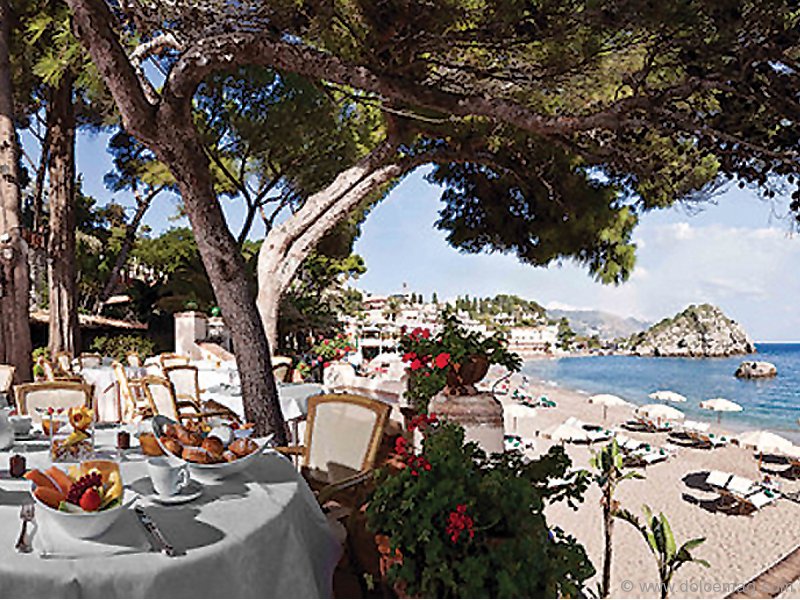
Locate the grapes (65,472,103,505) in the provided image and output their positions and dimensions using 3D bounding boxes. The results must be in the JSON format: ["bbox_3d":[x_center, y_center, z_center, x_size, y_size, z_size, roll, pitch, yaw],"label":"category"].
[{"bbox_3d":[-1.772,1.048,3.465,0.046,0.138,0.168,35,-34,-30],"label":"grapes"}]

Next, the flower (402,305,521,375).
[{"bbox_3d":[0.473,0.396,5.448,0.678,0.380,0.592,4,-5,-8],"label":"flower"}]

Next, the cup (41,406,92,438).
[{"bbox_3d":[-2.312,0.858,4.277,0.204,0.166,0.117,4,-17,-31],"label":"cup"}]

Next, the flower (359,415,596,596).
[{"bbox_3d":[0.485,1.495,3.994,1.050,1.234,0.876,-3,-27,6],"label":"flower"}]

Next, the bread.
[{"bbox_3d":[-1.359,0.953,4.032,0.418,0.157,0.388,10,-8,8],"label":"bread"}]

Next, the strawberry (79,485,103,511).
[{"bbox_3d":[-1.711,1.118,3.422,0.088,0.139,0.100,10,9,8],"label":"strawberry"}]

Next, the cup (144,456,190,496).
[{"bbox_3d":[-1.426,1.073,3.804,0.229,0.193,0.182,4,-2,18],"label":"cup"}]

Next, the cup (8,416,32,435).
[{"bbox_3d":[-2.801,0.928,4.555,0.117,0.064,0.131,3,-25,9],"label":"cup"}]

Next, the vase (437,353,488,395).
[{"bbox_3d":[0.584,0.664,5.541,0.481,0.332,0.489,-3,6,-35],"label":"vase"}]

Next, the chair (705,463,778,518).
[{"bbox_3d":[8.743,4.981,15.771,1.578,0.746,1.394,-1,-4,18],"label":"chair"}]

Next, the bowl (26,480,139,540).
[{"bbox_3d":[-1.796,1.267,3.540,0.459,0.207,0.462,1,-7,0],"label":"bowl"}]
